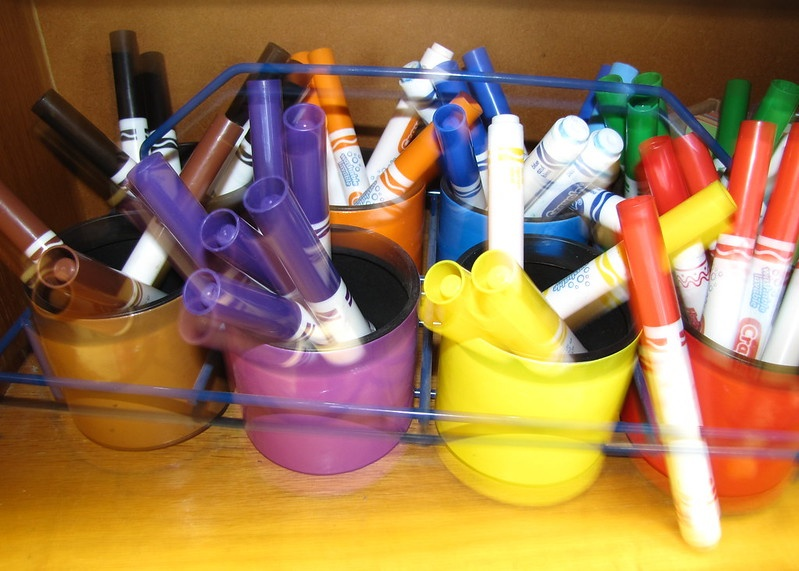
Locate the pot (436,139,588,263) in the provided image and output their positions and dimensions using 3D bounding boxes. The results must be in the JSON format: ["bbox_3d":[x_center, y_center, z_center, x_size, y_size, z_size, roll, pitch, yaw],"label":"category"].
[{"bbox_3d":[0.096,-0.071,0.603,0.087,0.093,0.094,0,43,0],"label":"pot"}]

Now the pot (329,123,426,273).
[{"bbox_3d":[-0.021,-0.065,0.622,0.073,0.077,0.079,0,48,0],"label":"pot"}]

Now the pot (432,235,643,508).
[{"bbox_3d":[0.106,0.062,0.574,0.144,0.149,0.138,5,40,-4],"label":"pot"}]

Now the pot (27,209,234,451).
[{"bbox_3d":[-0.228,0.076,0.557,0.112,0.110,0.110,-11,-11,-2],"label":"pot"}]

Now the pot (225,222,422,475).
[{"bbox_3d":[-0.064,0.072,0.570,0.128,0.117,0.122,-3,30,2],"label":"pot"}]
